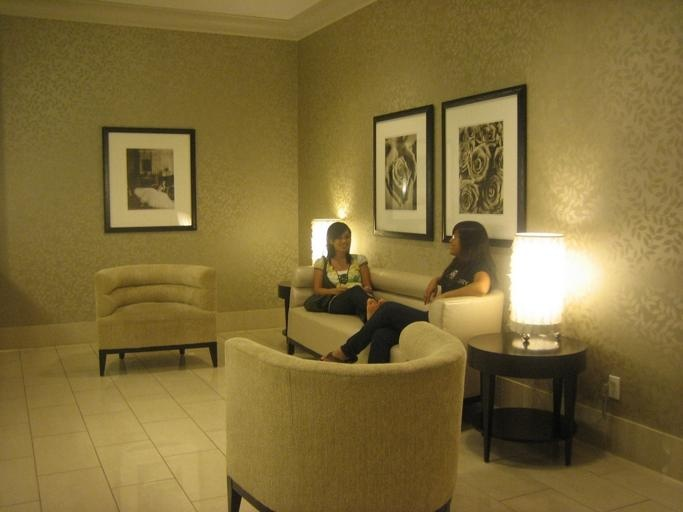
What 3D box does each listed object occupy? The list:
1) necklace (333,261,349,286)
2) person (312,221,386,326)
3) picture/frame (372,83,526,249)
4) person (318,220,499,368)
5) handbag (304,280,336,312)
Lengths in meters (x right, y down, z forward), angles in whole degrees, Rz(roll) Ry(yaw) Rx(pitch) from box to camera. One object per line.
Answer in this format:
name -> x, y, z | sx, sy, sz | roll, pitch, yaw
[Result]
necklace -> 0.004, 0.203, 5.713 | 0.178, 0.254, 0.130 | 1, 3, 2
person -> 0.028, 0.182, 5.604 | 0.711, 1.018, 0.969 | -3, 9, -24
picture/frame -> 1.189, -0.739, 4.756 | 0.111, 1.285, 0.983 | -4, 9, -30
person -> 0.573, 0.464, 4.571 | 1.526, 1.642, 0.775 | 5, -10, -13
handbag -> -0.217, 0.419, 5.663 | 0.277, 0.310, 0.126 | 3, -14, 38
